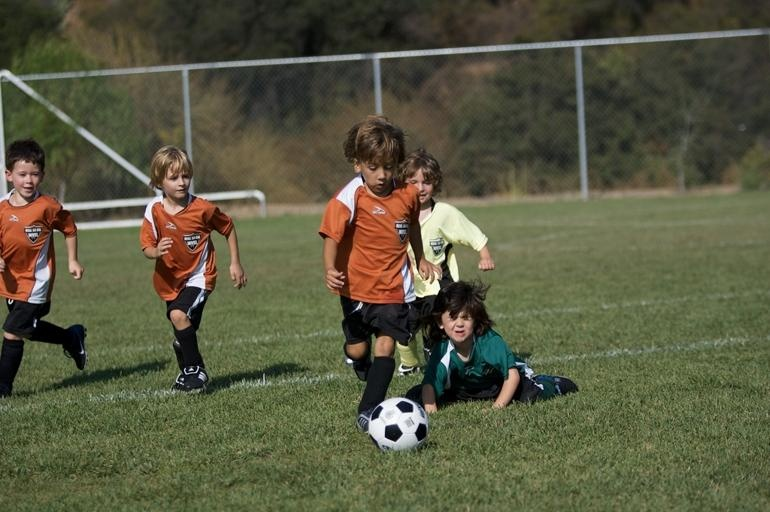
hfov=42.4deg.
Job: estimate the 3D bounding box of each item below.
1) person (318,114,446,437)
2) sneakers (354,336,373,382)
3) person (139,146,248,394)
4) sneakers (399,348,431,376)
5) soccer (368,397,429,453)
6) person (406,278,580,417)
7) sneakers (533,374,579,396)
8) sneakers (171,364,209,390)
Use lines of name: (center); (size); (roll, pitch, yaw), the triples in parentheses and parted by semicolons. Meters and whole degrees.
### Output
person: (-0.059, 0.079, 7.456); (0.538, 2.247, 0.853); (4, 8, 39)
sneakers: (-0.159, 0.803, 7.595); (0.115, 0.340, 0.141); (3, 28, 14)
person: (-1.545, 0.087, 7.942); (0.749, 1.928, 0.430); (-3, 7, -14)
sneakers: (0.248, 0.910, 8.502); (0.131, 0.289, 0.398); (3, -9, 34)
soccer: (0.086, 1.237, 7.110); (0.352, 0.367, 0.345); (12, -27, -15)
person: (0.736, 0.683, 7.834); (1.089, 0.949, 1.773); (-6, -5, 27)
sneakers: (1.297, 0.982, 7.624); (0.267, 0.109, 0.165); (4, 2, -30)
sneakers: (-1.561, 0.963, 7.937); (0.280, 0.191, 0.238); (-2, 7, -10)
